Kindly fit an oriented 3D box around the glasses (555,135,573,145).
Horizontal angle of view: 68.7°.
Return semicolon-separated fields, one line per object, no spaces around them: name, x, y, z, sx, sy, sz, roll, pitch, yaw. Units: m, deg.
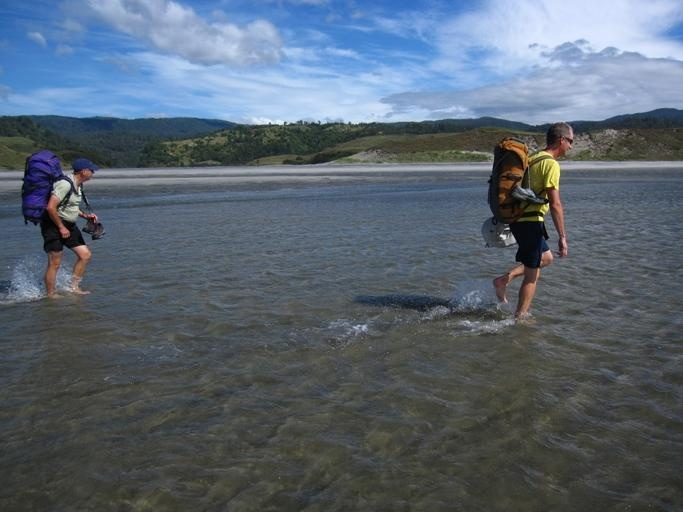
glasses;3.957;-2.041;8.769;0.237;0.127;0.687;5;14;30

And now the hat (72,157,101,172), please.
hat;-5.236;-1.865;10.173;0.391;0.226;0.521;11;16;39
